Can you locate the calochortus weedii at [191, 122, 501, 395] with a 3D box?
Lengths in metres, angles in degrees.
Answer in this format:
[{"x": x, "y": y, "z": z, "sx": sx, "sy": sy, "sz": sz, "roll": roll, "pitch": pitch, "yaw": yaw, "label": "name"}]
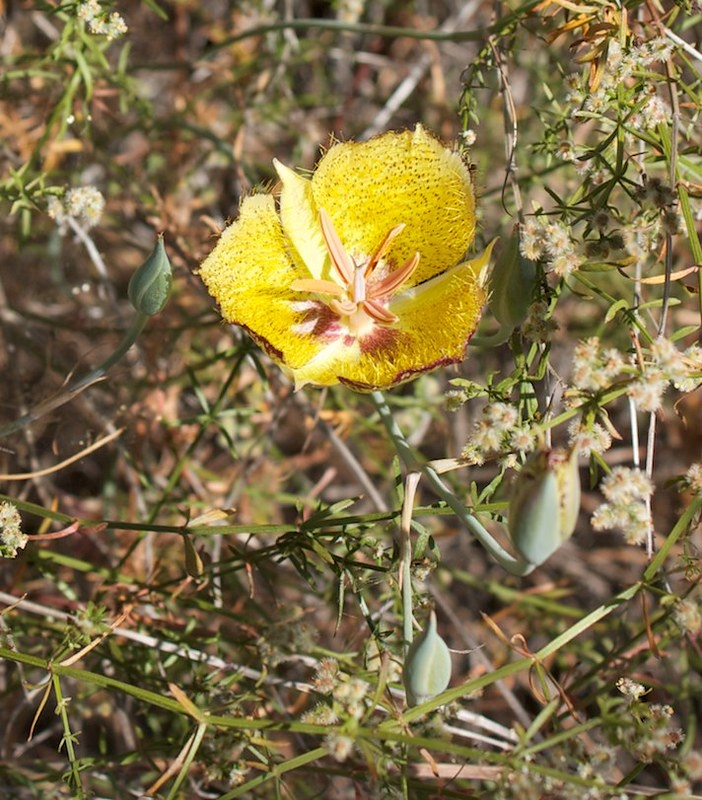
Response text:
[{"x": -0.001, "y": -0.278, "z": 1.975, "sx": 0.589, "sy": 0.324, "sz": 0.535, "roll": -14, "pitch": 86, "yaw": 0, "label": "calochortus weedii"}]
